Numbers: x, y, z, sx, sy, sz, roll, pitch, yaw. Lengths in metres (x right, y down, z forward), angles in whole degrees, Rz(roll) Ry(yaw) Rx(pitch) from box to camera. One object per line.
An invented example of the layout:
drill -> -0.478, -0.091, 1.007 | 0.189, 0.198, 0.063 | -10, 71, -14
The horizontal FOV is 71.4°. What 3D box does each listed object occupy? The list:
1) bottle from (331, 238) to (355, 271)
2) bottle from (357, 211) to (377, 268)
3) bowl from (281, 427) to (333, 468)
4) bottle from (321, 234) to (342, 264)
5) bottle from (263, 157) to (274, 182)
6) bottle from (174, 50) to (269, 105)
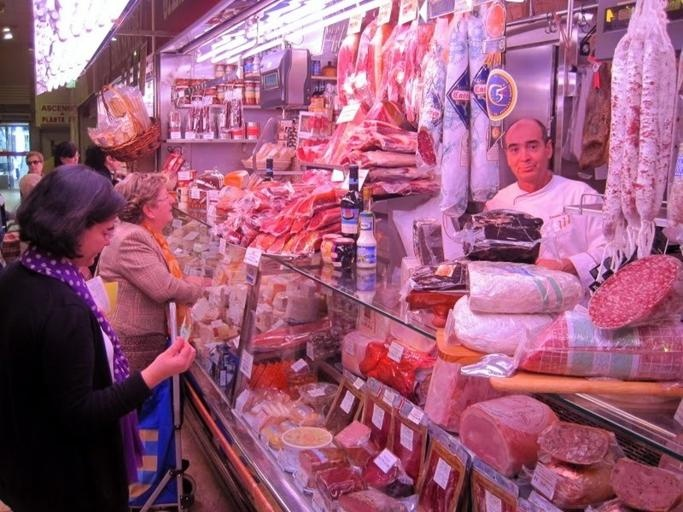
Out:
bottle -> 0.013, -0.010, 1.945 | 0.110, 0.131, 0.095 | 1, 3, -2
bottle -> 0.095, -0.066, 1.810 | 0.068, 0.213, 0.112 | 1, 5, 2
bowl -> -0.142, 0.798, 1.974 | 0.211, 0.090, 0.218 | 1, 6, 0
bottle -> -0.069, -0.027, 1.957 | 0.107, 0.122, 0.085 | -3, 8, -33
bottle -> -0.514, -0.627, 3.389 | 0.059, 0.176, 0.224 | 0, 5, -10
bottle -> -1.362, -1.911, 5.220 | 0.927, 0.489, 0.272 | 1, 5, -1
